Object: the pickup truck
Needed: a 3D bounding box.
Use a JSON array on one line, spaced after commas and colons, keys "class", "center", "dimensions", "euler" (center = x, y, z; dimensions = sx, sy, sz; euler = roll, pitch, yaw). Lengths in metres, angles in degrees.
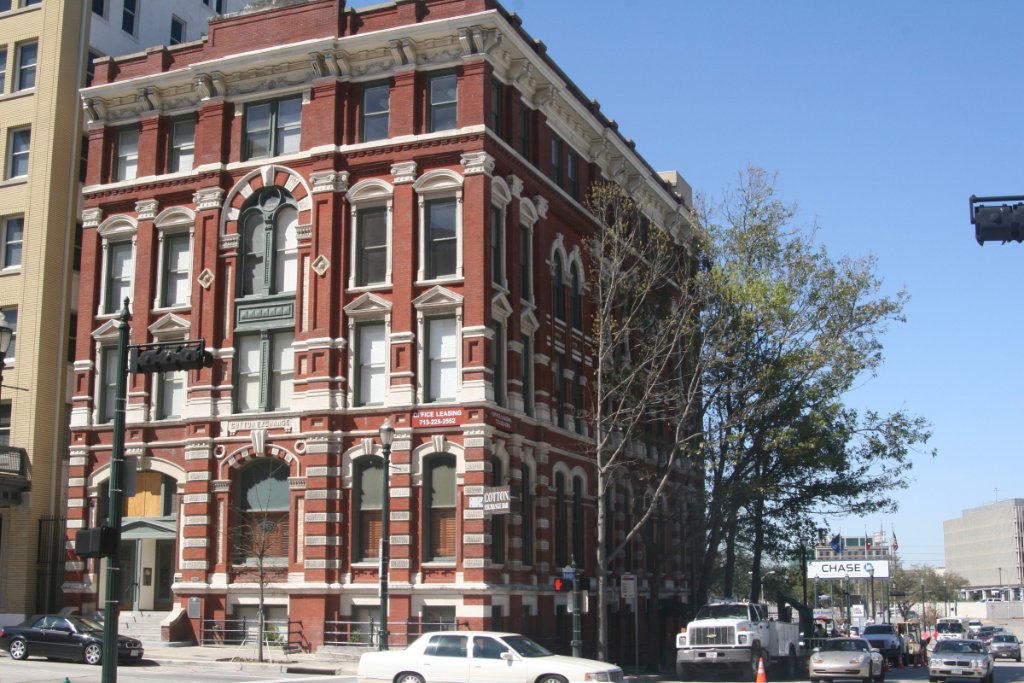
[{"class": "pickup truck", "center": [10.768, 14.065, 76.322], "dimensions": [2.763, 2.256, 6.371], "euler": [-12, -29, 28]}]
